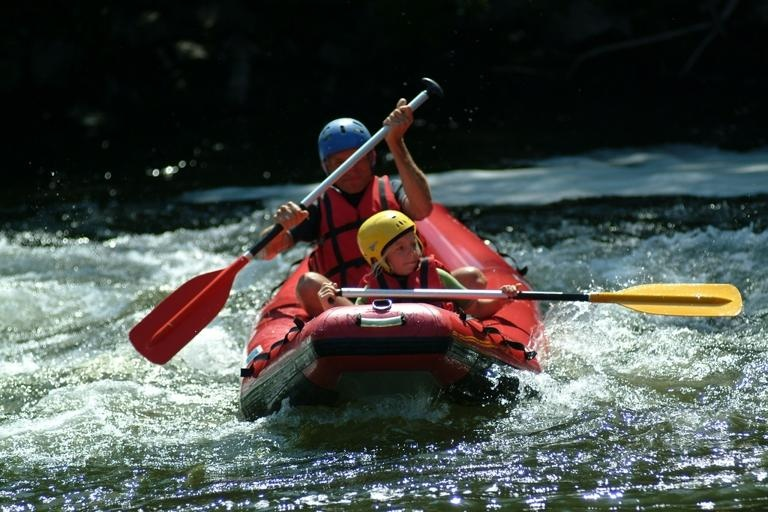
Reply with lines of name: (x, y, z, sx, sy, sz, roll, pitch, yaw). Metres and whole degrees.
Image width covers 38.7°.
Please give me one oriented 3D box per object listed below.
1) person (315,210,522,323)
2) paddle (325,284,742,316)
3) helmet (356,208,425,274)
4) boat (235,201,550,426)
person: (0.172, 0.107, 8.730, 0.927, 0.491, 1.213, -23, 6, 8)
paddle: (1.136, 0.347, 8.579, 2.465, 0.254, 0.101, -1, 41, -1)
helmet: (-0.032, -0.142, 8.433, 0.506, 0.442, 0.385, -27, -7, 26)
boat: (-0.081, 0.853, 9.404, 2.147, 0.838, 2.930, -4, -1, -6)
